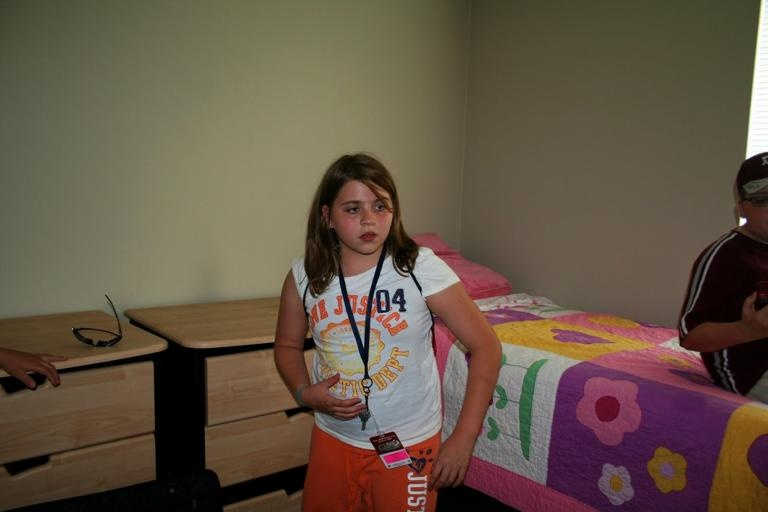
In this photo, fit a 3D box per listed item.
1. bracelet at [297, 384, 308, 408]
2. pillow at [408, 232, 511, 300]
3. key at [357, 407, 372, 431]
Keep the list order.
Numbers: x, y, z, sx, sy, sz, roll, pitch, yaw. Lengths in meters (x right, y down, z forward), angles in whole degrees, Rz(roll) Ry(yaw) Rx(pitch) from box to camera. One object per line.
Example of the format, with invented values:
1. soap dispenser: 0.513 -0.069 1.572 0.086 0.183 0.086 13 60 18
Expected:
1. bracelet: -0.265 0.454 1.483 0.026 0.065 0.049 1 4 20
2. pillow: 0.533 -0.009 3.114 0.386 0.176 0.644 -8 23 -31
3. key: -0.057 0.501 1.411 0.038 0.075 0.015 -3 8 -6
